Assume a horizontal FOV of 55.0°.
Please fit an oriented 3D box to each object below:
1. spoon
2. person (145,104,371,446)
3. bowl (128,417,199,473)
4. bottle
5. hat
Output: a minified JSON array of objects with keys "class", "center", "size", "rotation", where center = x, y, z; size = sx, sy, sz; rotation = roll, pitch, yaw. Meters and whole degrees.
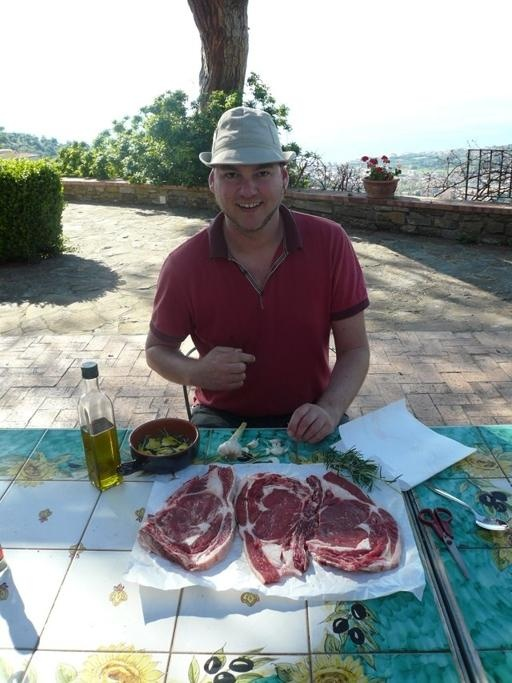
[{"class":"spoon","center":[0.528,0.423,1.248],"size":[0.048,0.030,0.215],"rotation":[0,18,-33]},{"class":"person","center":[0.000,-0.151,1.979],"size":[1.033,1.353,0.806],"rotation":[-1,22,2]},{"class":"bowl","center":[-0.258,0.303,1.436],"size":[0.191,0.067,0.146],"rotation":[-24,40,-34]},{"class":"bottle","center":[-0.418,0.212,1.318],"size":[0.127,0.364,0.131],"rotation":[10,22,-4]},{"class":"hat","center":[-0.028,-0.768,1.904],"size":[0.386,0.206,0.441],"rotation":[-1,16,2]}]
